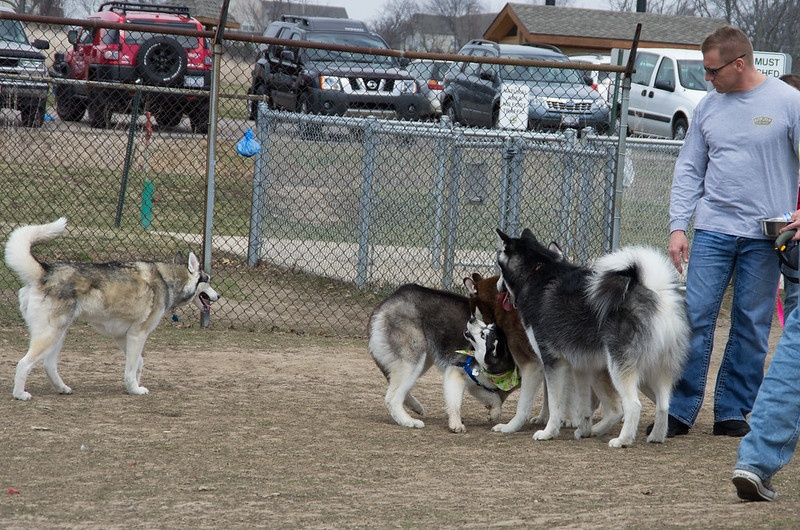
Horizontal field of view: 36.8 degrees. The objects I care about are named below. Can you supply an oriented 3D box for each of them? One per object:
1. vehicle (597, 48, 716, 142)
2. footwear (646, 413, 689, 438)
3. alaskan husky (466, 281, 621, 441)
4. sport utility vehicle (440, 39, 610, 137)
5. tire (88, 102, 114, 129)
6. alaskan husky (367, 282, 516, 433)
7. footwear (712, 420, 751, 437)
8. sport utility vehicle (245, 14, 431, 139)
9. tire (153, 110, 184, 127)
[{"bbox_3d":[5.678,-3.309,24.158,1.695,1.933,3.359,2,10,-22],"label":"vehicle"},{"bbox_3d":[2.646,1.599,11.801,0.489,0.253,0.178,4,3,-23],"label":"footwear"},{"bbox_3d":[1.484,0.983,12.461,2.063,1.515,0.652,5,-5,-21],"label":"alaskan husky"},{"bbox_3d":[2.458,-3.291,22.495,1.858,1.692,3.189,-3,6,-34],"label":"sport utility vehicle"},{"bbox_3d":[-5.888,-2.926,23.352,0.426,0.654,0.357,7,-25,-25],"label":"tire"},{"bbox_3d":[0.634,0.954,12.264,1.919,1.389,0.715,2,0,20],"label":"alaskan husky"},{"bbox_3d":[3.266,1.615,11.762,0.392,0.199,0.164,-1,2,20],"label":"footwear"},{"bbox_3d":[-1.295,-3.512,22.148,2.424,2.237,4.384,0,10,-27],"label":"sport utility vehicle"},{"bbox_3d":[-4.705,-2.953,24.037,0.545,0.468,0.623,-1,-3,-10],"label":"tire"}]
